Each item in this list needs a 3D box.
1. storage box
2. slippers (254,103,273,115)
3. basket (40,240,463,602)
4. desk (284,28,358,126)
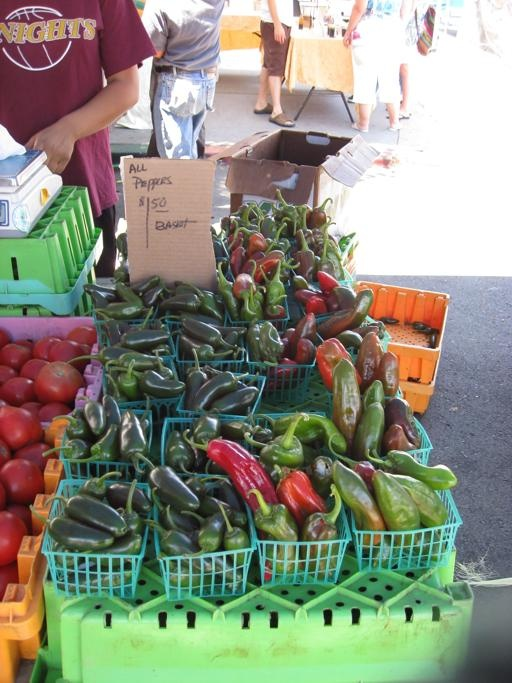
[{"bbox_3d":[0.320,-1.135,3.755,0.966,0.408,0.797,11,45,21],"label":"storage box"},{"bbox_3d":[0.132,-4.176,9.850,0.327,0.125,0.165,-3,39,-5],"label":"slippers"},{"bbox_3d":[0.005,0.247,1.299,0.921,0.332,0.656,-1,21,-15],"label":"basket"},{"bbox_3d":[1.260,-4.946,10.175,1.354,1.264,1.783,-2,26,-10],"label":"desk"}]
